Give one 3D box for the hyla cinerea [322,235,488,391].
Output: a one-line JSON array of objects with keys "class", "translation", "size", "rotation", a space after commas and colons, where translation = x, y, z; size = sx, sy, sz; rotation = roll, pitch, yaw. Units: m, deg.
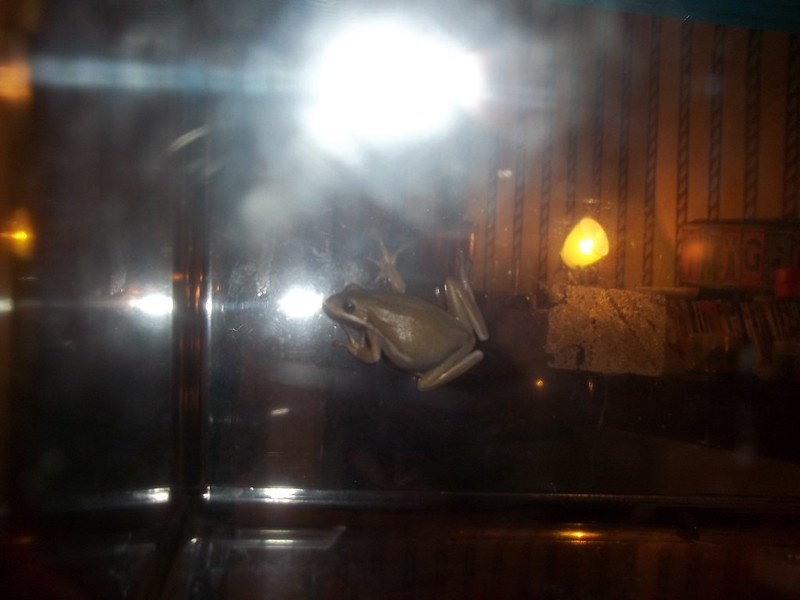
[{"class": "hyla cinerea", "translation": [0.017, 0.056, 1.668], "size": [0.324, 0.096, 0.323], "rotation": [20, -102, -9]}]
